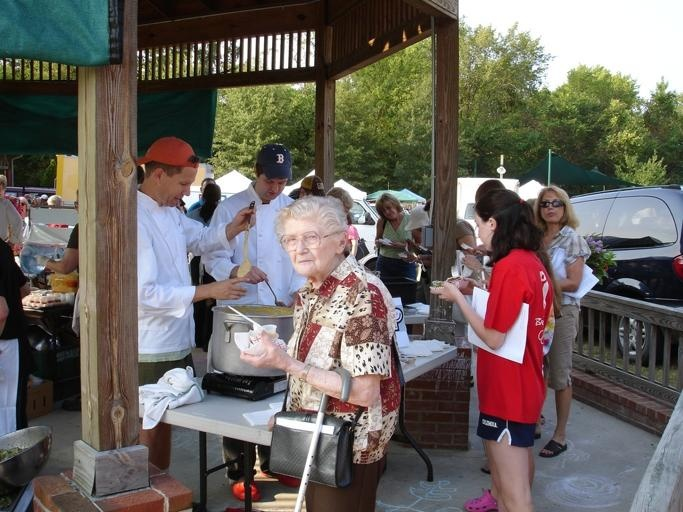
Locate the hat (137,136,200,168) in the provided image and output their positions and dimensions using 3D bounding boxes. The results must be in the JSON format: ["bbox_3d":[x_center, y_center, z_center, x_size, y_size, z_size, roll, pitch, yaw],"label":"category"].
[{"bbox_3d":[-1.082,-0.640,3.977,0.379,0.184,0.163,3,7,14],"label":"hat"}]

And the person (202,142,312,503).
[{"bbox_3d":[-0.626,0.361,4.808,0.698,2.312,0.811,-1,-2,23],"label":"person"}]

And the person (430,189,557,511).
[{"bbox_3d":[0.885,0.608,3.768,0.628,1.981,0.777,3,7,18],"label":"person"}]

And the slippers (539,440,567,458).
[{"bbox_3d":[1.702,1.556,5.268,0.092,0.090,0.253,-8,-8,41],"label":"slippers"}]
